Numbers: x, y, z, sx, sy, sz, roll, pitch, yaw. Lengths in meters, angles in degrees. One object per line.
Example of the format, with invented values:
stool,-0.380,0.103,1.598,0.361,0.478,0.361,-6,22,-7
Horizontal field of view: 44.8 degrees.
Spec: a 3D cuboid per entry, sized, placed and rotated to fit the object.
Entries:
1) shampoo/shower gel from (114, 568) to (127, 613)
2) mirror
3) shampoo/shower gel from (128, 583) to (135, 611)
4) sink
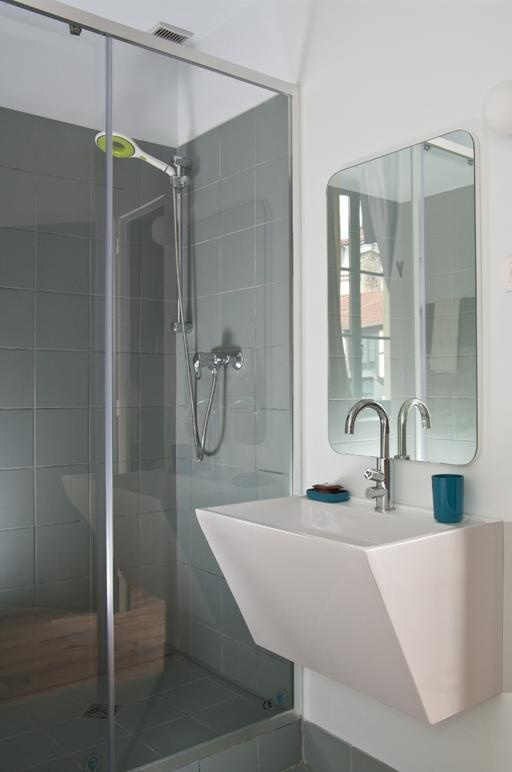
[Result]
shampoo/shower gel,-0.386,0.592,1.791,0.041,0.121,0.015,-1,3,-26
mirror,0.392,-0.229,1.799,0.115,0.895,0.608,-1,3,-24
shampoo/shower gel,-0.363,0.616,1.807,0.027,0.066,0.008,-2,3,-41
sink,0.263,0.366,1.606,0.514,0.530,0.778,7,-13,-31
